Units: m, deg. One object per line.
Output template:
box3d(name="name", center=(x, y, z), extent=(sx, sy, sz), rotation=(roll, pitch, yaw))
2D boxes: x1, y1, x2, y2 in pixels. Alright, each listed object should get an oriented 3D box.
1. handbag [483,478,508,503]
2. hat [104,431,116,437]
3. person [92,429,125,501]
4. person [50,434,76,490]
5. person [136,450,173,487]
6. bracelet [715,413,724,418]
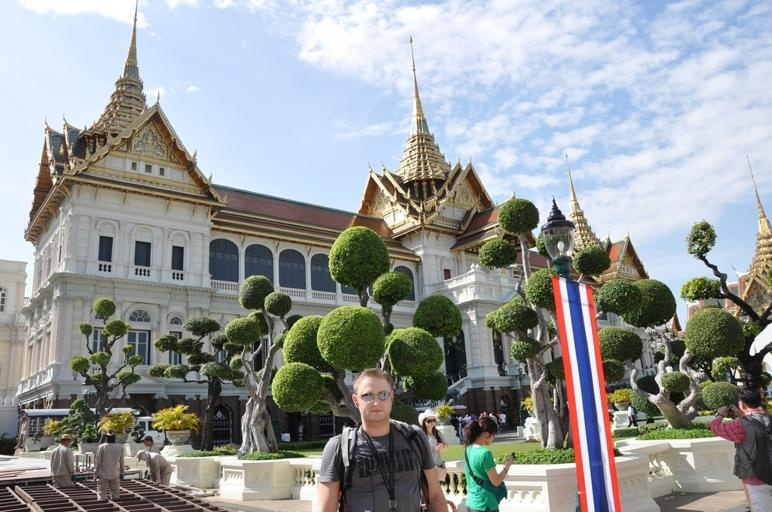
box3d(name="handbag", center=(1.926, 4.010, 10.812), extent=(0.496, 0.346, 0.259), rotation=(13, -22, -42))
box3d(name="hat", center=(-6.719, 4.381, 15.565), extent=(0.191, 0.062, 0.190), rotation=(0, -8, 3))
box3d(name="person", center=(-6.599, 5.150, 15.138), extent=(0.551, 1.291, 0.425), rotation=(5, -18, -23))
box3d(name="person", center=(-8.549, 5.486, 16.938), extent=(0.590, 1.365, 1.523), rotation=(5, -18, -25))
box3d(name="person", center=(-6.679, 6.318, 18.606), extent=(0.913, 1.366, 0.641), rotation=(-1, 5, -1))
box3d(name="bracelet", center=(5.773, 2.764, 10.978), extent=(0.087, 0.064, 0.085), rotation=(0, -10, 4))
